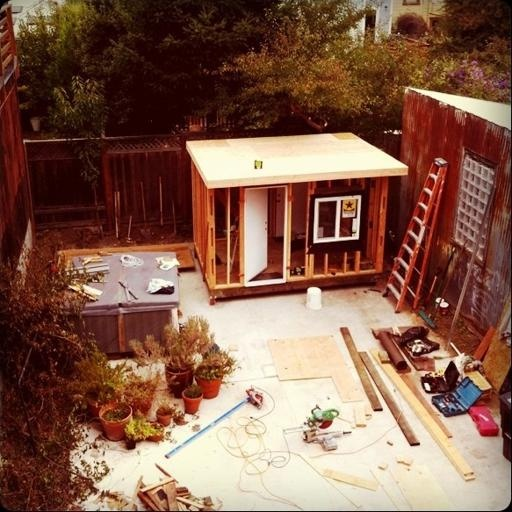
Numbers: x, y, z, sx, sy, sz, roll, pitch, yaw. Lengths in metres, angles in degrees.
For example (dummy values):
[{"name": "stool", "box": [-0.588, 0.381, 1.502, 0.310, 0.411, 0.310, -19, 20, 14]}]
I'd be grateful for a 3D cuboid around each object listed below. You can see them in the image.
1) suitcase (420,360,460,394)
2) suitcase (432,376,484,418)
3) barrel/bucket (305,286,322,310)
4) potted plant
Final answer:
[{"name": "suitcase", "box": [2.820, 1.891, 6.427, 0.461, 0.349, 0.461, 14, 37, -13]}, {"name": "suitcase", "box": [2.902, 2.071, 6.050, 0.591, 0.295, 0.426, -10, 46, -30]}, {"name": "barrel/bucket", "box": [1.137, 0.821, 8.619, 0.372, 0.432, 0.392, -1, 18, 0]}, {"name": "potted plant", "box": [-1.120, 1.692, 6.200, 1.284, 1.387, 1.554, 0, 11, 0]}]
